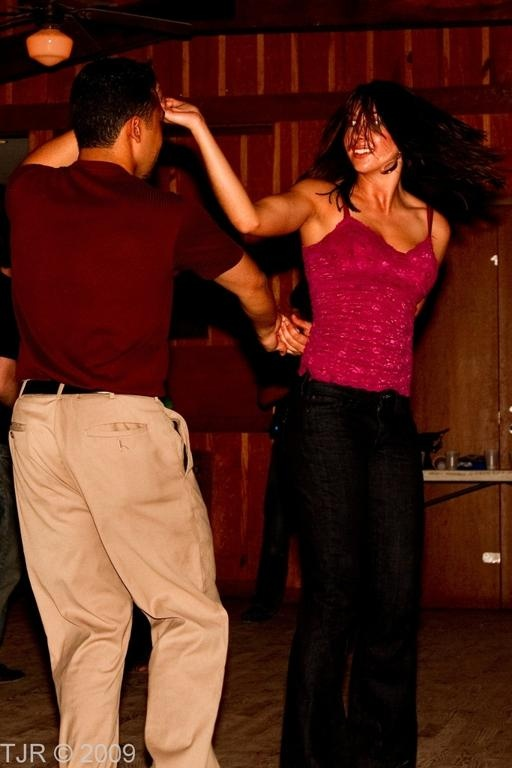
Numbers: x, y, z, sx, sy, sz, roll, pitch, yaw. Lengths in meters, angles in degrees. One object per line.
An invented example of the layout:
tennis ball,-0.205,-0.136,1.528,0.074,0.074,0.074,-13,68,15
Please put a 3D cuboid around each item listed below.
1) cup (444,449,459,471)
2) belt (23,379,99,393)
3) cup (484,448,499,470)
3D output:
cup,1.147,0.433,4.415,0.098,0.100,0.091,0,-11,0
belt,-0.376,0.007,1.444,0.174,0.028,0.026,0,4,31
cup,1.388,0.441,4.416,0.112,0.097,0.163,1,-6,14
